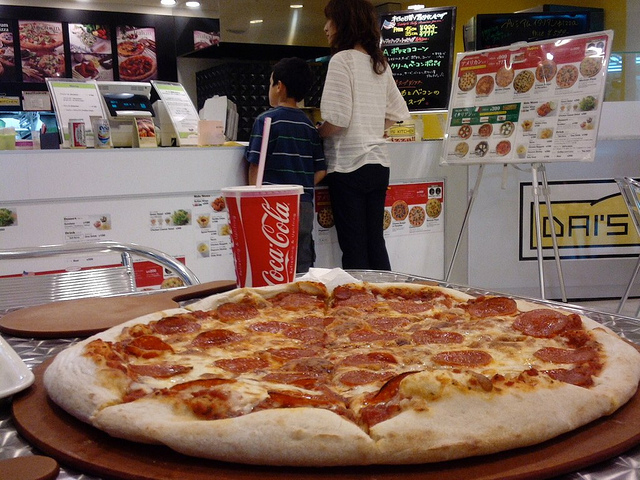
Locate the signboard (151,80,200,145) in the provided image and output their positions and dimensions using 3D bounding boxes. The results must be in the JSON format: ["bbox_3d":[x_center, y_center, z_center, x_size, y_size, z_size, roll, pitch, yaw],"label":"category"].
[{"bbox_3d":[-1.007,-0.920,3.333,0.231,0.656,0.066,-9,-22,-38],"label":"signboard"}]

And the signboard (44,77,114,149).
[{"bbox_3d":[-1.644,-0.875,3.121,0.346,0.497,0.552,-7,13,-28],"label":"signboard"}]

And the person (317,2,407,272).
[{"bbox_3d":[0.272,-0.628,2.991,0.580,1.692,0.344,-2,11,-7],"label":"person"}]

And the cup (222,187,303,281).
[{"bbox_3d":[-0.109,-0.021,1.258,0.242,0.290,0.225,0,2,0],"label":"cup"}]
